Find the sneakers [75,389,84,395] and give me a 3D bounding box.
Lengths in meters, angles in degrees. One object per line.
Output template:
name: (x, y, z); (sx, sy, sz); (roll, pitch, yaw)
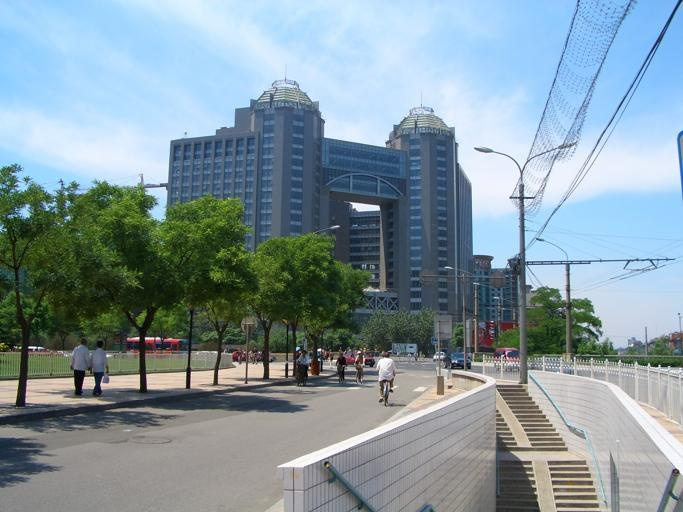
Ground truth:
sneakers: (-9.511, 4.921, 24.199); (0.213, 0.212, 0.207); (4, -4, -20)
